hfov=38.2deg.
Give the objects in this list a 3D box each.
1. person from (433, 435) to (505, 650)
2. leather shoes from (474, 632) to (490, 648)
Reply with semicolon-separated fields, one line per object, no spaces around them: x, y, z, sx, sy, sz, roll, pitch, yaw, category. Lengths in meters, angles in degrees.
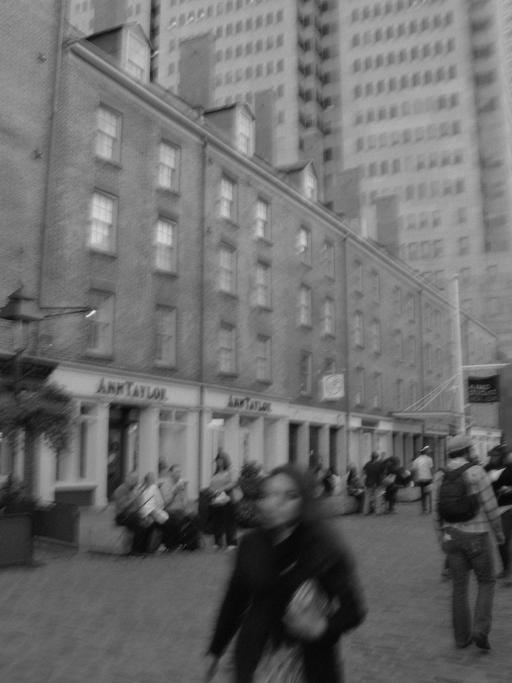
1.124;1.018;3.858;0.382;1.023;0.811;0;-6;13;person
1.091;1.446;3.566;0.078;0.077;0.135;0;-7;17;leather shoes
